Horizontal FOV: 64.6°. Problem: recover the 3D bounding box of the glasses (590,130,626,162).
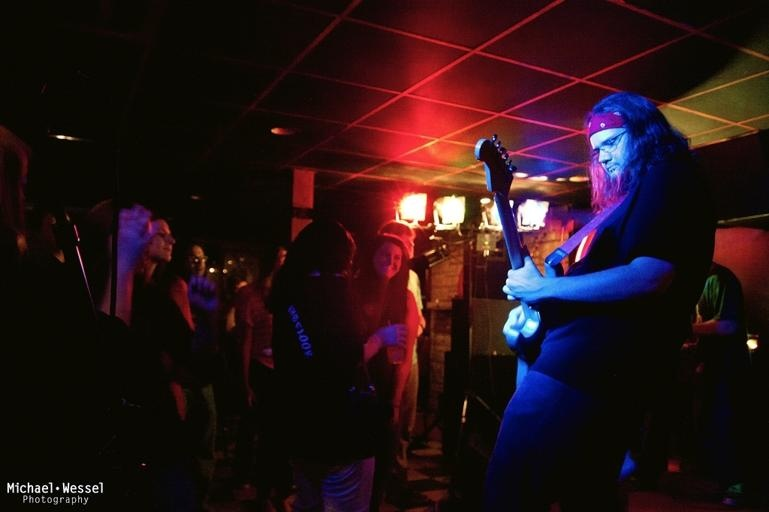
[{"bbox_3d":[1.295,-0.644,3.533,0.169,0.080,0.133,1,-10,-34],"label":"glasses"}]
